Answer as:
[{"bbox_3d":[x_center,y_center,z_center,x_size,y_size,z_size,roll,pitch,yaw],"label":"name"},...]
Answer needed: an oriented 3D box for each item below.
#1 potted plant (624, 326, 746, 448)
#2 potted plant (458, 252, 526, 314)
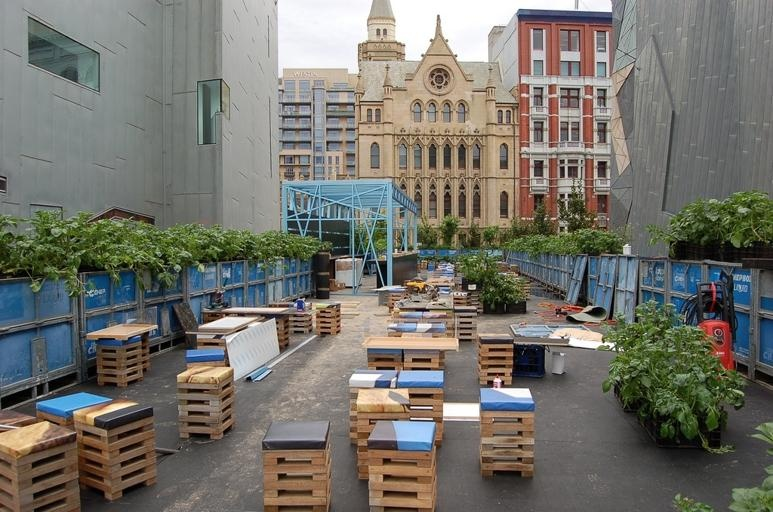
[{"bbox_3d":[6.324,2.739,13.546,2.339,1.966,2.719,0,24,1],"label":"potted plant"},{"bbox_3d":[4.664,1.155,26.855,2.718,2.014,2.385,0,6,1],"label":"potted plant"}]
